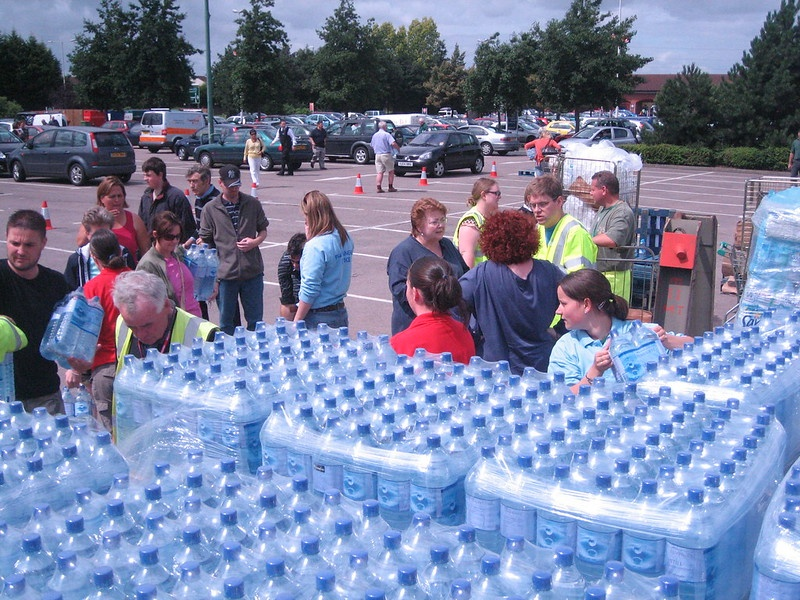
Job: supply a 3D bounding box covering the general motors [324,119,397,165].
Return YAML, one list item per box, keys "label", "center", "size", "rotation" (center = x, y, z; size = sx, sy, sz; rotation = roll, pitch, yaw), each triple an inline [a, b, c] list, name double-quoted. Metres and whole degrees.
- label: "general motors"
  center: [-1.544, -6.080, 32.576]
  size: [2.435, 1.334, 1.556]
  rotation: [16, 27, 26]

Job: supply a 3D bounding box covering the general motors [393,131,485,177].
- label: "general motors"
  center: [1.163, -4.760, 27.959]
  size: [1.506, 1.138, 2.438]
  rotation: [6, 11, 37]

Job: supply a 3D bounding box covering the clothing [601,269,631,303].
- label: "clothing"
  center: [1.881, -0.139, 7.548]
  size: [0.236, 0.348, 0.182]
  rotation: [-9, 13, -16]

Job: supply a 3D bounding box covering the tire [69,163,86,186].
- label: "tire"
  center: [-9.199, -3.630, 24.514]
  size: [0.455, 0.528, 0.178]
  rotation: [-11, 2, 29]

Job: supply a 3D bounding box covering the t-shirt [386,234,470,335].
- label: "t-shirt"
  center: [0.218, -0.112, 6.455]
  size: [0.667, 0.886, 0.473]
  rotation: [-14, 11, -40]

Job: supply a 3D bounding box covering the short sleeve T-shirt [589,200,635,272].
- label: "short sleeve T-shirt"
  center: [2.263, -0.653, 9.192]
  size: [0.417, 0.834, 1.026]
  rotation: [-2, 11, -3]

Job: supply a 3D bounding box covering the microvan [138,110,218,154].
- label: "microvan"
  center: [-9.986, -7.703, 39.076]
  size: [1.779, 2.077, 3.558]
  rotation: [6, 12, 31]

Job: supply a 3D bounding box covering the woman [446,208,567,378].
- label: "woman"
  center: [0.912, 0.204, 6.781]
  size: [0.783, 2.048, 0.673]
  rotation: [-7, 26, -1]

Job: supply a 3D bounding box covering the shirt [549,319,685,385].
- label: "shirt"
  center: [1.303, 0.275, 5.545]
  size: [0.529, 0.295, 0.620]
  rotation: [8, 29, 42]

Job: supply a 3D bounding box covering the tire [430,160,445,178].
- label: "tire"
  center: [1.139, -4.186, 27.512]
  size: [0.308, 0.540, 0.753]
  rotation: [8, 18, 30]

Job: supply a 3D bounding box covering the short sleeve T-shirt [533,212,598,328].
- label: "short sleeve T-shirt"
  center: [1.232, -0.217, 6.527]
  size: [0.387, 0.768, 0.795]
  rotation: [-5, 10, -15]

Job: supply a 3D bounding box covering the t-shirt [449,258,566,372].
- label: "t-shirt"
  center: [0.988, 0.135, 6.514]
  size: [0.736, 0.812, 0.417]
  rotation: [2, 5, 31]
